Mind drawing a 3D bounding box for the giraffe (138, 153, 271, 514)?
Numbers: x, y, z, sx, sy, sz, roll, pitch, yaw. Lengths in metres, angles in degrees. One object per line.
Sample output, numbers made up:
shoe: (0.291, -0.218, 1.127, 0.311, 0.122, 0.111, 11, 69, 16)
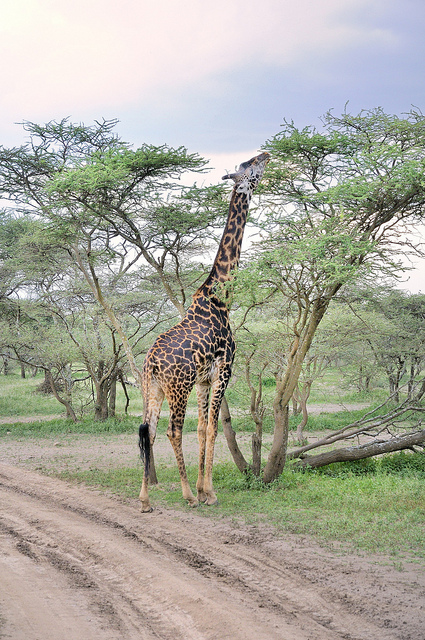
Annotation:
giraffe: (-0.198, 0.094, 10.434, 0.808, 5.333, 2.429, 2, 7, 44)
